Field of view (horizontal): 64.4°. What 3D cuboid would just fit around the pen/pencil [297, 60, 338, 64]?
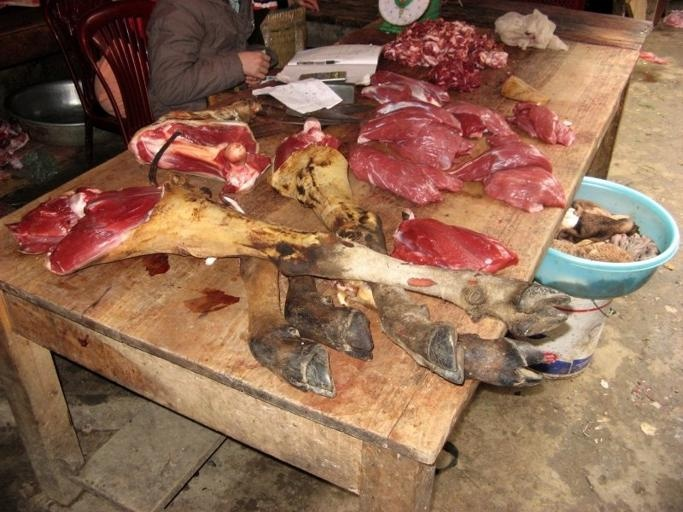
[{"bbox_3d":[-0.125,-1.071,3.004,0.206,0.020,0.026,-1,7,0],"label":"pen/pencil"}]
